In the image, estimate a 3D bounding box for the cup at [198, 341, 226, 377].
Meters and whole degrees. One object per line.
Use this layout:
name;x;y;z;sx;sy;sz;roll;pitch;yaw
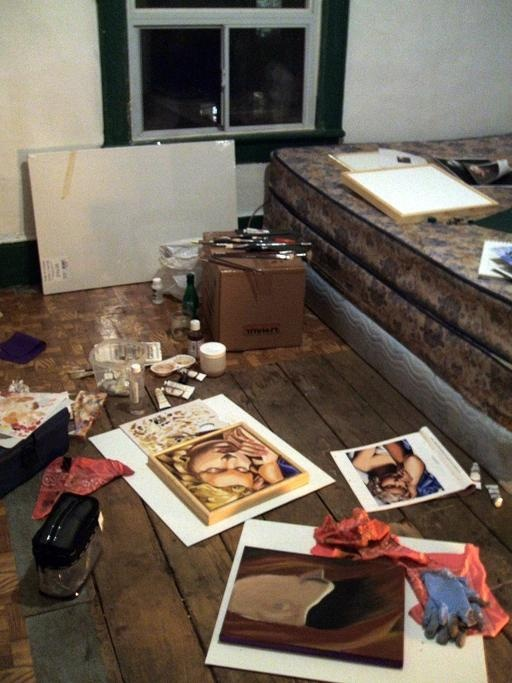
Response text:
cup;-0.153;0.064;1.887;0.115;0.105;0.111;0;38;0

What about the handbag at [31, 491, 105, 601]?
handbag;-0.376;0.420;1.035;0.085;0.134;0.143;14;38;5

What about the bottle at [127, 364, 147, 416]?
bottle;-0.400;0.134;1.704;0.058;0.159;0.172;-7;22;-12

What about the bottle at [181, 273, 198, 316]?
bottle;-0.280;-0.196;2.168;0.061;0.204;0.139;-4;22;-4

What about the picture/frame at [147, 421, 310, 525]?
picture/frame;-0.077;0.347;1.392;0.313;0.072;0.299;-18;26;-35

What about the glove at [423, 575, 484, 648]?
glove;0.372;0.519;1.005;0.085;0.036;0.101;-4;19;-5

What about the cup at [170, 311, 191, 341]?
cup;-0.307;-0.057;2.173;0.098;0.105;0.102;6;31;-4

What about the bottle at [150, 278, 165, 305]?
bottle;-0.466;-0.235;2.417;0.055;0.115;0.078;-7;22;-11

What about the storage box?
storage box;-0.036;-0.141;2.155;0.388;0.361;0.549;-2;27;-6
